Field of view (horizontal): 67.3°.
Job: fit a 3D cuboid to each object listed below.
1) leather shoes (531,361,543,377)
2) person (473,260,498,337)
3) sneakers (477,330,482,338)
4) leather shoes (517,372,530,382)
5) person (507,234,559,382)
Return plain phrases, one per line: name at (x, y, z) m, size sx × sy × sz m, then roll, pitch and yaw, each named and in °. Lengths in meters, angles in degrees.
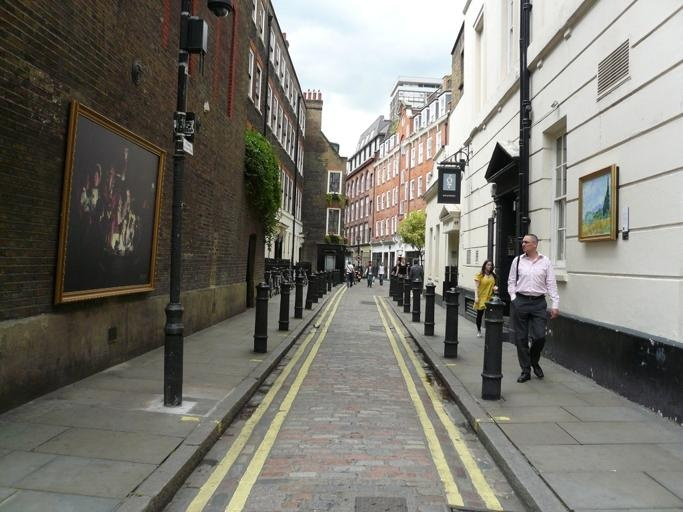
leather shoes at (3.174, 1.838, 8.347) m, size 0.095 × 0.162 × 0.342 m, roll -9°, pitch 6°, yaw 5°
person at (3.430, 1.020, 12.284) m, size 0.469 × 1.873 × 1.376 m, roll 1°, pitch 1°, yaw 15°
sneakers at (3.412, 1.924, 12.679) m, size 0.076 × 0.114 × 0.248 m, roll 1°, pitch 4°, yaw 10°
leather shoes at (2.806, 1.868, 7.939) m, size 0.090 × 0.127 × 0.291 m, roll -6°, pitch -13°, yaw 31°
person at (3.028, 0.806, 8.119) m, size 0.729 × 2.291 × 0.604 m, roll 1°, pitch 1°, yaw 20°
